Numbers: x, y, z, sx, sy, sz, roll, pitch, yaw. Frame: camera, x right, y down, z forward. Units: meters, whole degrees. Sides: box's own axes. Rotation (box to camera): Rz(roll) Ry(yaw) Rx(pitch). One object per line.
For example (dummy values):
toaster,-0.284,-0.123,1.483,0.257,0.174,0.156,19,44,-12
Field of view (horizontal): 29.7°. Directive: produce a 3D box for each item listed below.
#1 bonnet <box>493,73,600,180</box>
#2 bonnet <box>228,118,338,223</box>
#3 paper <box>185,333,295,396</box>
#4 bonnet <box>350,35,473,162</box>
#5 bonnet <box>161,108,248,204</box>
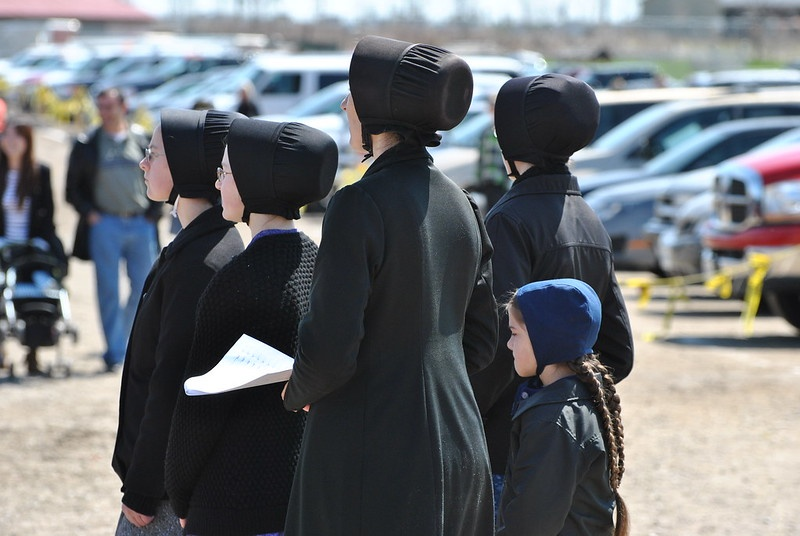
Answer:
bonnet,1.056,-1.056,10.685,0.672,0.734,0.818,-14,22,-36
bonnet,-0.838,-0.629,9.952,0.848,0.606,0.625,8,-7,-6
paper,-1.016,0.621,9.469,0.528,0.161,0.405,5,14,-27
bonnet,0.072,-1.082,9.718,0.755,0.736,0.607,13,9,34
bonnet,-1.413,-0.753,10.377,0.592,0.648,0.523,0,-4,-9
